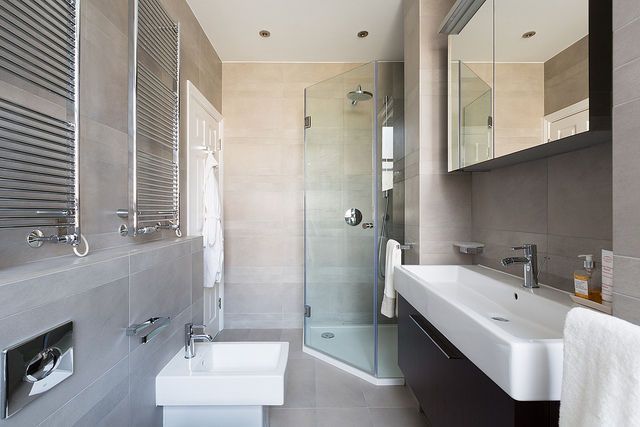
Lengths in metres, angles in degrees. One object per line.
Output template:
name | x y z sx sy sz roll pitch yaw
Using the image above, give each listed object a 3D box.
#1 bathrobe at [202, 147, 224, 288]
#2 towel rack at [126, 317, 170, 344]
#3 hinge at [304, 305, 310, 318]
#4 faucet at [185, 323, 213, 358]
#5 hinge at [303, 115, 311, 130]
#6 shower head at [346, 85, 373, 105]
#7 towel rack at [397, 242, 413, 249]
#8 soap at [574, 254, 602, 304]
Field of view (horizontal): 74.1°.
bathrobe | -0.958 0.017 3.767 0.168 1.249 0.291 0 -1 -15
towel rack | -0.982 0.655 2.428 0.117 0.048 0.354 14 -2 -3
hinge | -0.127 0.922 3.996 0.065 0.110 0.016 -1 -1 33
faucet | -0.798 0.813 2.739 0.150 0.196 0.225 0 -1 -22
hinge | -0.118 -0.857 3.959 0.021 0.118 0.083 0 -1 -31
shower head | 0.346 -1.013 3.603 0.200 0.093 0.270 1 -6 0
towel rack | 0.674 0.248 3.282 0.118 0.045 0.226 -1 -1 17
soap | 1.340 0.328 2.107 0.096 0.242 0.133 2 -2 0
